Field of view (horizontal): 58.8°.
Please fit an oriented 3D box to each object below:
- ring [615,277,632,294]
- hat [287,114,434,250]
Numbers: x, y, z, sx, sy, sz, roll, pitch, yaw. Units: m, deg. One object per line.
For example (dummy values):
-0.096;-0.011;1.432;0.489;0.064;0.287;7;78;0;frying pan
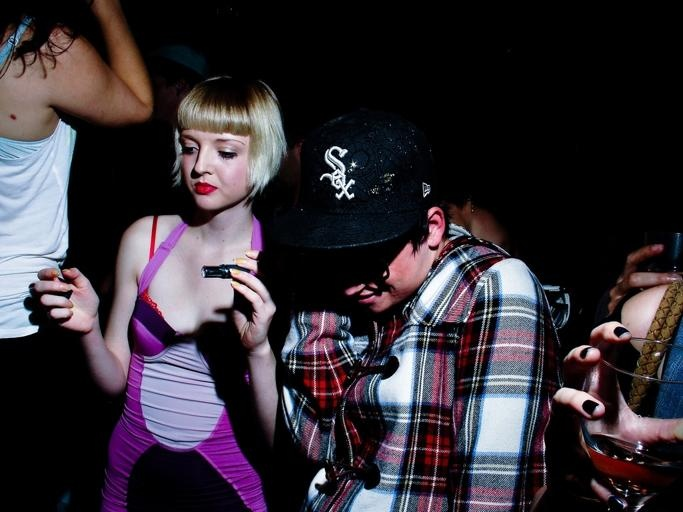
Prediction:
1.367;0.148;2.941;0.016;0.060;0.043;25;2;-32;ring
0.054;-0.384;2.676;0.632;0.487;0.869;5;21;27;hat
